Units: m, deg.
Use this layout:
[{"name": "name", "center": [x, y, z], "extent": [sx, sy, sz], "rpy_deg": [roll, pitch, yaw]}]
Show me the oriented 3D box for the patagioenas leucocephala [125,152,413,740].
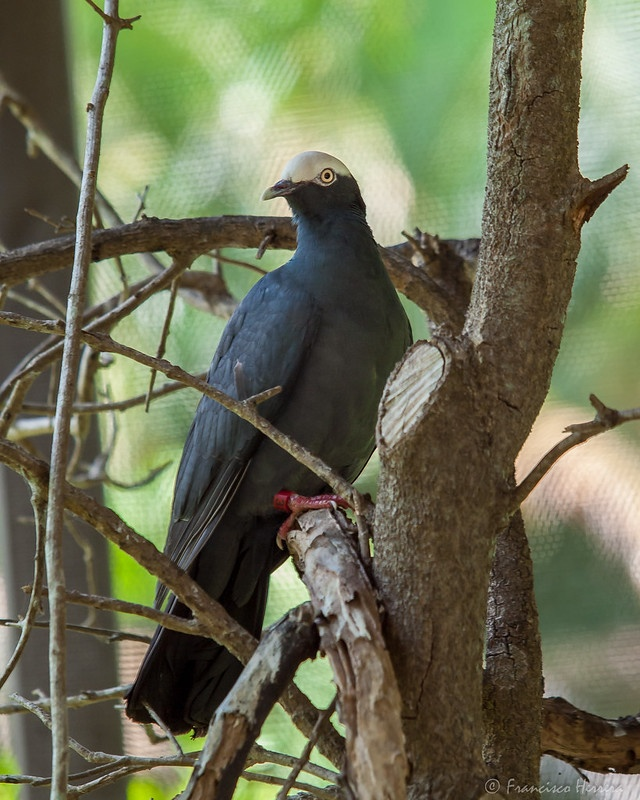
[{"name": "patagioenas leucocephala", "center": [-0.158, 0.093, 3.655], "extent": [0.584, 1.666, 0.601], "rpy_deg": [23, -15, 4]}]
